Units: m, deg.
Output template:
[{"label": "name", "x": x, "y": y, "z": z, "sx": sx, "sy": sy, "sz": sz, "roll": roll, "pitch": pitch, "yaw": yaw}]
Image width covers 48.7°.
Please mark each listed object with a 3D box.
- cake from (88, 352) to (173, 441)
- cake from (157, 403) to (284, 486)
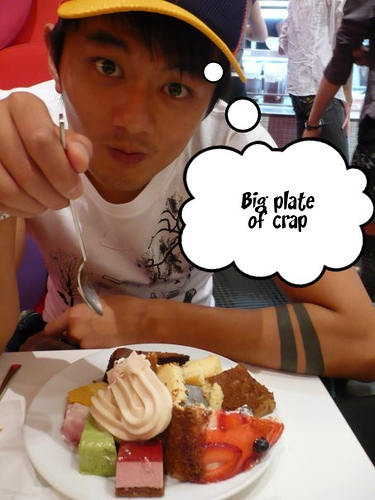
[{"label": "cake", "x": -0.099, "y": 0.245, "z": 0.726, "sx": 0.133, "sy": 0.051, "sz": 0.173, "roll": -7, "pitch": 48, "yaw": -11}, {"label": "cake", "x": 0.055, "y": 0.310, "z": 0.662, "sx": 0.135, "sy": 0.052, "sz": 0.132, "roll": 12, "pitch": 35, "yaw": 20}]
